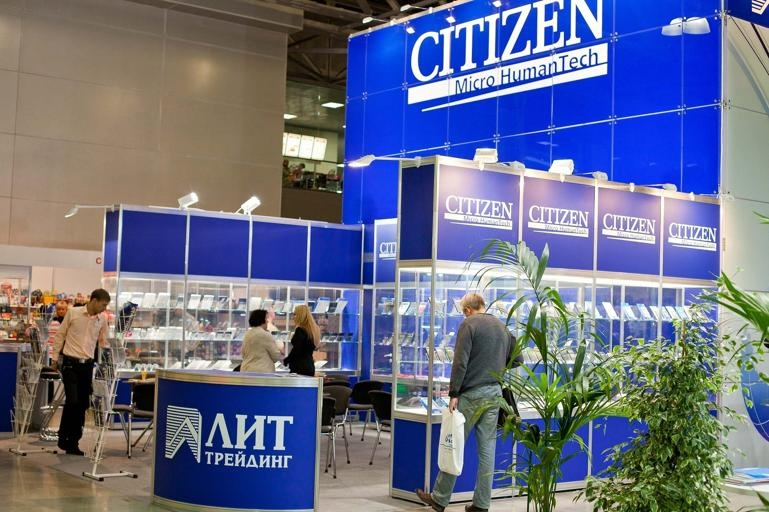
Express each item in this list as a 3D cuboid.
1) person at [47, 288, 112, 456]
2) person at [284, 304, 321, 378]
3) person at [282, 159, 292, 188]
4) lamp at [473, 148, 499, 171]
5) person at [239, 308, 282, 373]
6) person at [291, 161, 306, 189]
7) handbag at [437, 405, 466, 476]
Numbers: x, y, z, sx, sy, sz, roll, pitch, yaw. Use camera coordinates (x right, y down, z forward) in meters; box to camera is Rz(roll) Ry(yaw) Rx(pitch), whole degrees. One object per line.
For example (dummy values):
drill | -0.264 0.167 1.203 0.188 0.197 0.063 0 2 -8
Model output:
person | -3.930 1.491 9.233 0.654 2.104 0.640 5 -11 -9
person | -1.042 1.058 9.133 0.419 0.921 0.623 4 -11 -7
person | -2.861 -2.444 20.927 0.253 0.895 0.231 8 -12 -27
lamp | 1.136 -1.152 8.245 0.286 0.286 0.106 -2 -9 -4
person | -1.445 0.993 8.468 0.455 0.760 0.725 5 -11 -11
person | -2.518 -2.398 21.113 0.198 0.842 0.556 -7 -14 42
handbag | 0.661 1.843 7.036 0.223 0.652 0.334 5 -11 -13
